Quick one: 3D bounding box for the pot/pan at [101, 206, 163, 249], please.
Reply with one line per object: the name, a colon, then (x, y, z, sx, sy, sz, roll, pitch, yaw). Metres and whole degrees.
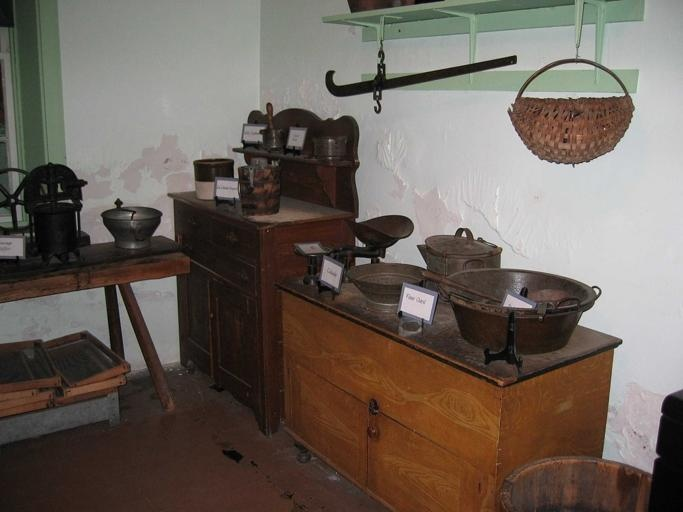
pot/pan: (-1.388, -0.227, 3.431, 0.278, 0.148, 0.368, -12, 22, -40)

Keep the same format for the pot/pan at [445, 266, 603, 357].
pot/pan: (0.707, 0.206, 2.093, 0.433, 0.189, 0.450, 4, 12, 12)

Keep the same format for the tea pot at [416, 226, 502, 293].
tea pot: (0.526, 0.004, 2.475, 0.239, 0.164, 0.306, -13, 17, -41)

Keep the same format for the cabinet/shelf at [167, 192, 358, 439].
cabinet/shelf: (-0.442, 0.338, 3.106, 0.544, 1.179, 1.239, -9, 17, -37)

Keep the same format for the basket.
basket: (0.874, -0.509, 2.048, 0.438, 0.271, 0.204, 8, 18, 27)
